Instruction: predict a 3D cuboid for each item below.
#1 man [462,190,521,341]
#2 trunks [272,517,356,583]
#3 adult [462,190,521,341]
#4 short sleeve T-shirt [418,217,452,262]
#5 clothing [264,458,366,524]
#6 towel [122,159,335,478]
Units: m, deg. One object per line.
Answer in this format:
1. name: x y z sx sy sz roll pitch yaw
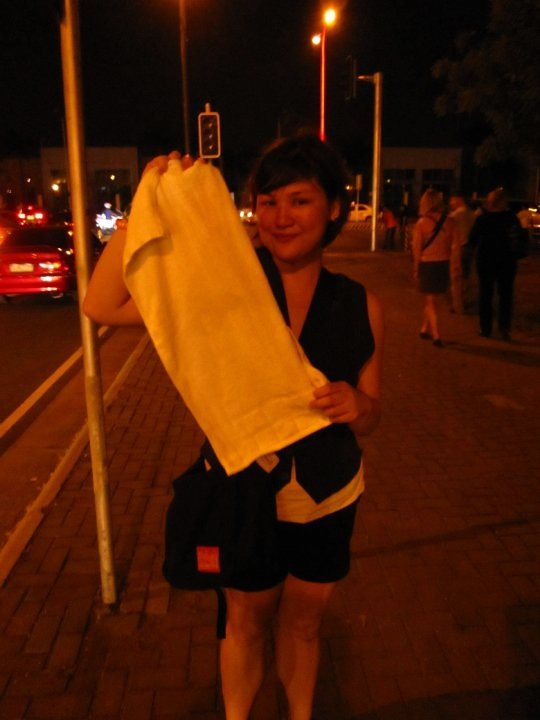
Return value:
1. man: 3.300 -1.419 8.576 0.608 2.146 0.569 3 10 36
2. trunks: 0.096 0.441 1.364 0.155 0.174 0.099 -3 14 -9
3. adult: 3.288 -1.424 8.582 0.635 2.160 0.570 3 8 42
4. short sleeve T-shirt: 2.283 -1.688 8.100 0.424 0.661 0.336 1 23 7
5. clothing: 0.116 0.274 1.356 0.141 0.119 0.196 3 18 30
6. towel: -0.117 -0.123 1.107 0.281 0.636 0.068 -15 -18 -18
